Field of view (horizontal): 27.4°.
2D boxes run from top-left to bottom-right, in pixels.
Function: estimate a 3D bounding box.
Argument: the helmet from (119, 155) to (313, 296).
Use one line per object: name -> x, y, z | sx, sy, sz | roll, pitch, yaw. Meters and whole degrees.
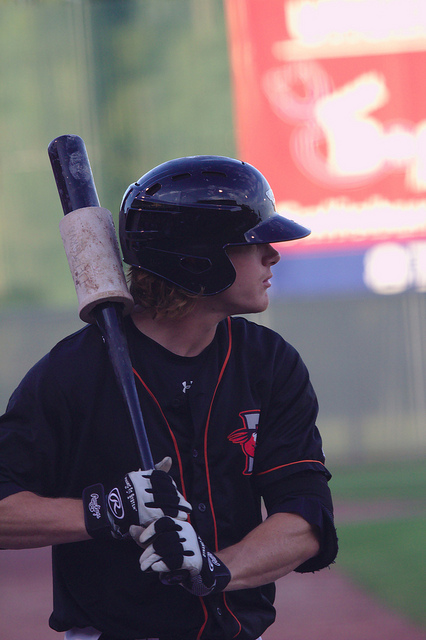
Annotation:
helmet -> 0.026, -0.339, 2.901 | 0.649, 0.374, 0.418 | -2, 19, 7
